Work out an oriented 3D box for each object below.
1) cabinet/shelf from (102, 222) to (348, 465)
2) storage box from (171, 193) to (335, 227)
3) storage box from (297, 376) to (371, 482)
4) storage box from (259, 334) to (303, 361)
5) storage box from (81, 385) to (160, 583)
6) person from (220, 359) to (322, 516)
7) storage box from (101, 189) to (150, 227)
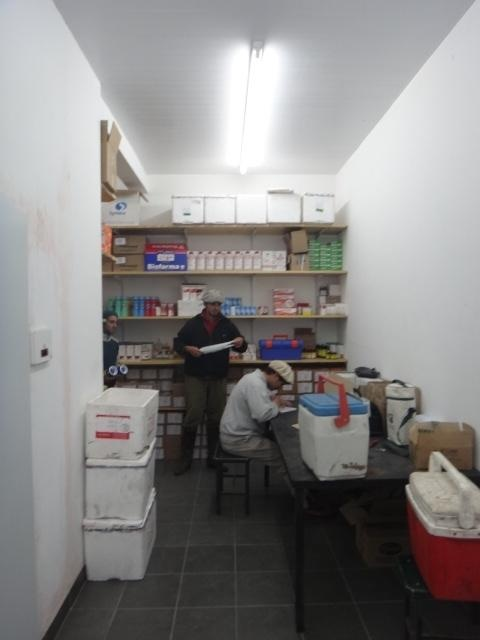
[{"bbox_3d":[-0.167,0.143,4.004,1.865,1.761,0.560,0,-5,-5],"label":"cabinet/shelf"},{"bbox_3d":[0.107,-0.916,4.401,1.304,0.281,0.086,-1,7,-2],"label":"storage box"},{"bbox_3d":[0.350,0.493,2.327,0.264,0.422,0.405,0,-4,-4],"label":"storage box"},{"bbox_3d":[0.332,0.248,4.520,0.346,0.182,0.164,-2,7,-3],"label":"storage box"},{"bbox_3d":[-0.583,0.800,2.580,0.343,0.888,0.904,1,-1,-3],"label":"storage box"},{"bbox_3d":[0.072,0.559,3.310,0.669,1.056,0.492,2,-2,-10],"label":"person"},{"bbox_3d":[-1.019,-0.890,4.630,0.420,0.301,0.333,0,1,-8],"label":"storage box"}]
